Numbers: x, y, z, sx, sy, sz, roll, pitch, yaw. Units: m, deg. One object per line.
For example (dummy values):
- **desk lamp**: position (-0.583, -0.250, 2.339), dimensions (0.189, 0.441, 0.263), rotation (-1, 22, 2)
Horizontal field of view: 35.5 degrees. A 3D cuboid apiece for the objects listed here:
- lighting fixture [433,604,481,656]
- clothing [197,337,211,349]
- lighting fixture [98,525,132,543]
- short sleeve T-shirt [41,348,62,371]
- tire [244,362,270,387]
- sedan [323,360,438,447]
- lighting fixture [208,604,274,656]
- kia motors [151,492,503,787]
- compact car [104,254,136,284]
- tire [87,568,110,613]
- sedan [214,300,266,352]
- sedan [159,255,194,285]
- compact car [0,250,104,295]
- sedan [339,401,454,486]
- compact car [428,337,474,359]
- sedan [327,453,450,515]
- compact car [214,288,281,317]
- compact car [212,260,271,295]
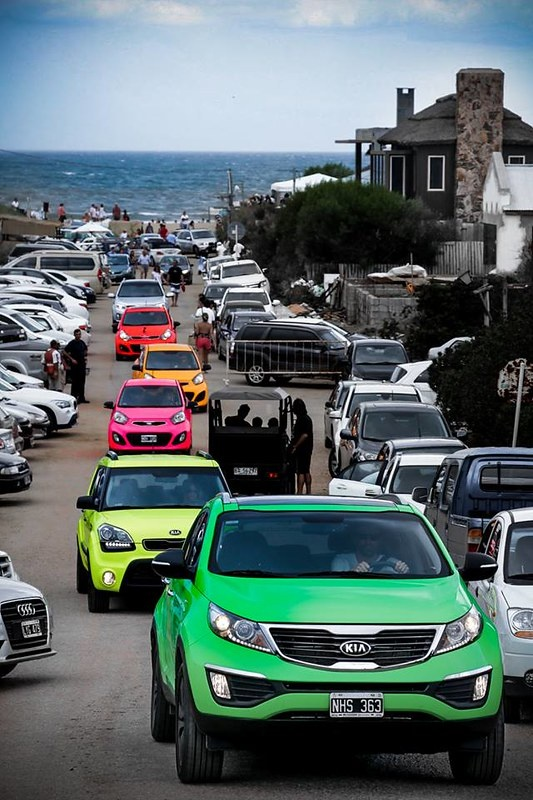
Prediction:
- **lighting fixture**: position (0.893, 1.064, 3.828), dimensions (0.129, 0.074, 0.208), rotation (-28, -21, 32)
- **clothing**: position (-2.663, -2.483, 36.073), dimensions (0.713, 0.670, 0.460), rotation (2, 28, -3)
- **lighting fixture**: position (-1.863, 1.658, 10.258), dimensions (0.330, 0.138, 0.201), rotation (24, -20, -23)
- **short sleeve T-shirt**: position (-7.613, -1.414, 29.557), dimensions (0.787, 0.753, 0.426), rotation (5, 13, 23)
- **tire**: position (-0.379, -1.097, 34.539), dimensions (1.069, 1.035, 0.388), rotation (-2, 7, -6)
- **sedan**: position (2.595, -0.014, 23.217), dimensions (1.965, 1.626, 3.937), rotation (0, 1, -8)
- **lighting fixture**: position (-0.100, 1.021, 3.678), dimensions (0.292, 0.150, 0.058), rotation (13, -34, 15)
- **kia motors**: position (0.269, 1.124, 4.381), dimensions (1.214, 0.867, 1.988), rotation (1, -10, -7)
- **compact car**: position (-10.757, -9.681, 61.146), dimensions (1.539, 1.230, 2.588), rotation (-1, 2, -4)
- **tire**: position (-2.066, 2.343, 10.284), dimensions (0.252, 0.614, 0.623), rotation (2, -2, -5)
- **sedan**: position (-1.362, -3.901, 39.707), dimensions (1.607, 1.451, 3.200), rotation (-1, 4, -9)
- **sedan**: position (-6.674, -9.954, 62.515), dimensions (1.721, 1.367, 2.928), rotation (0, 1, -6)
- **compact car**: position (-13.826, -8.431, 55.305), dimensions (4.947, 2.329, 2.929), rotation (4, 8, -3)
- **sedan**: position (2.750, 0.797, 18.998), dimensions (1.472, 1.138, 2.370), rotation (0, -1, -8)
- **compact car**: position (5.870, -1.691, 26.635), dimensions (1.111, 0.626, 1.620), rotation (-12, 10, 5)
- **sedan**: position (2.195, 1.280, 13.654), dimensions (1.165, 1.010, 2.400), rotation (2, 0, -4)
- **compact car**: position (-1.117, -4.978, 42.692), dimensions (2.692, 2.102, 4.383), rotation (-1, 0, -4)
- **compact car**: position (-1.480, -7.584, 50.156), dimensions (2.208, 1.768, 3.750), rotation (-2, 2, -9)
